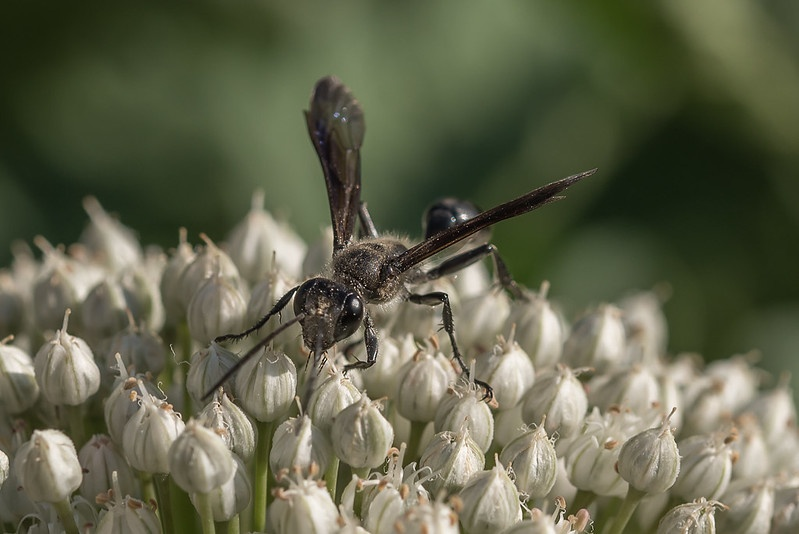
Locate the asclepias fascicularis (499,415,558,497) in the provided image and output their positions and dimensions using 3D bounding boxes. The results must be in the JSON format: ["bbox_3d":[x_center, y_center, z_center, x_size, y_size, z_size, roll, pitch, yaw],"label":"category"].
[{"bbox_3d":[0.435,0.589,3.002,0.155,0.297,0.106,3,-3,19],"label":"asclepias fascicularis"}]

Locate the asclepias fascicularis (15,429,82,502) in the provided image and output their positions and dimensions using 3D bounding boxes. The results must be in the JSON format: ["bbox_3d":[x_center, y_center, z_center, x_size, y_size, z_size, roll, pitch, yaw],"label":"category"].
[{"bbox_3d":[-1.119,0.648,2.931,0.193,0.333,0.214,0,-15,-22],"label":"asclepias fascicularis"}]

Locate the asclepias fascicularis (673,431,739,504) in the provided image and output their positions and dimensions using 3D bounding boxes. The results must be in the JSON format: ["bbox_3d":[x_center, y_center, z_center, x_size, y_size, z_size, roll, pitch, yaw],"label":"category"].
[{"bbox_3d":[1.042,0.685,3.127,0.091,0.289,0.156,12,2,-44],"label":"asclepias fascicularis"}]

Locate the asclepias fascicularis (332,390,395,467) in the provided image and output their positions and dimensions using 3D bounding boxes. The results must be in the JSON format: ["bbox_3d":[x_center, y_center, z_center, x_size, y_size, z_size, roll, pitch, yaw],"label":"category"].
[{"bbox_3d":[-0.120,0.534,2.967,0.193,0.275,0.197,1,-7,-4],"label":"asclepias fascicularis"}]
